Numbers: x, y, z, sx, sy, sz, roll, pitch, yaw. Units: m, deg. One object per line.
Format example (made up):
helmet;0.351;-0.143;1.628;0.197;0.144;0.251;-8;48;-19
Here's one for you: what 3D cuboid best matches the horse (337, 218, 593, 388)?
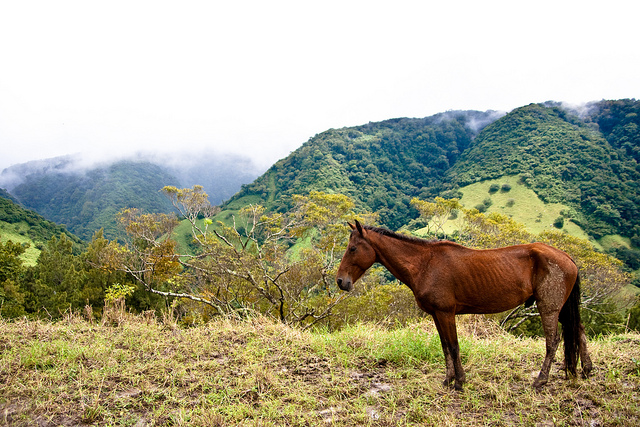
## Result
horse;3.280;2.027;11.120;5.637;3.799;1.392;-1;-3;1
